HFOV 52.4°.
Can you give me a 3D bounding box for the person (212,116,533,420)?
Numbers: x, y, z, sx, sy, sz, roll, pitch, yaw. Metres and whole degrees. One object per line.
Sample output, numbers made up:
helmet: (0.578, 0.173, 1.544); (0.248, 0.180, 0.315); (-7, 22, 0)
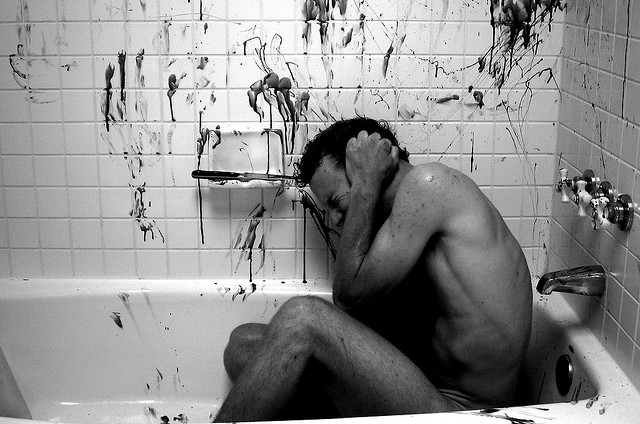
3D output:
person: (0.200, 0.186, 2.176); (0.974, 0.913, 0.491); (-2, 12, -12)
